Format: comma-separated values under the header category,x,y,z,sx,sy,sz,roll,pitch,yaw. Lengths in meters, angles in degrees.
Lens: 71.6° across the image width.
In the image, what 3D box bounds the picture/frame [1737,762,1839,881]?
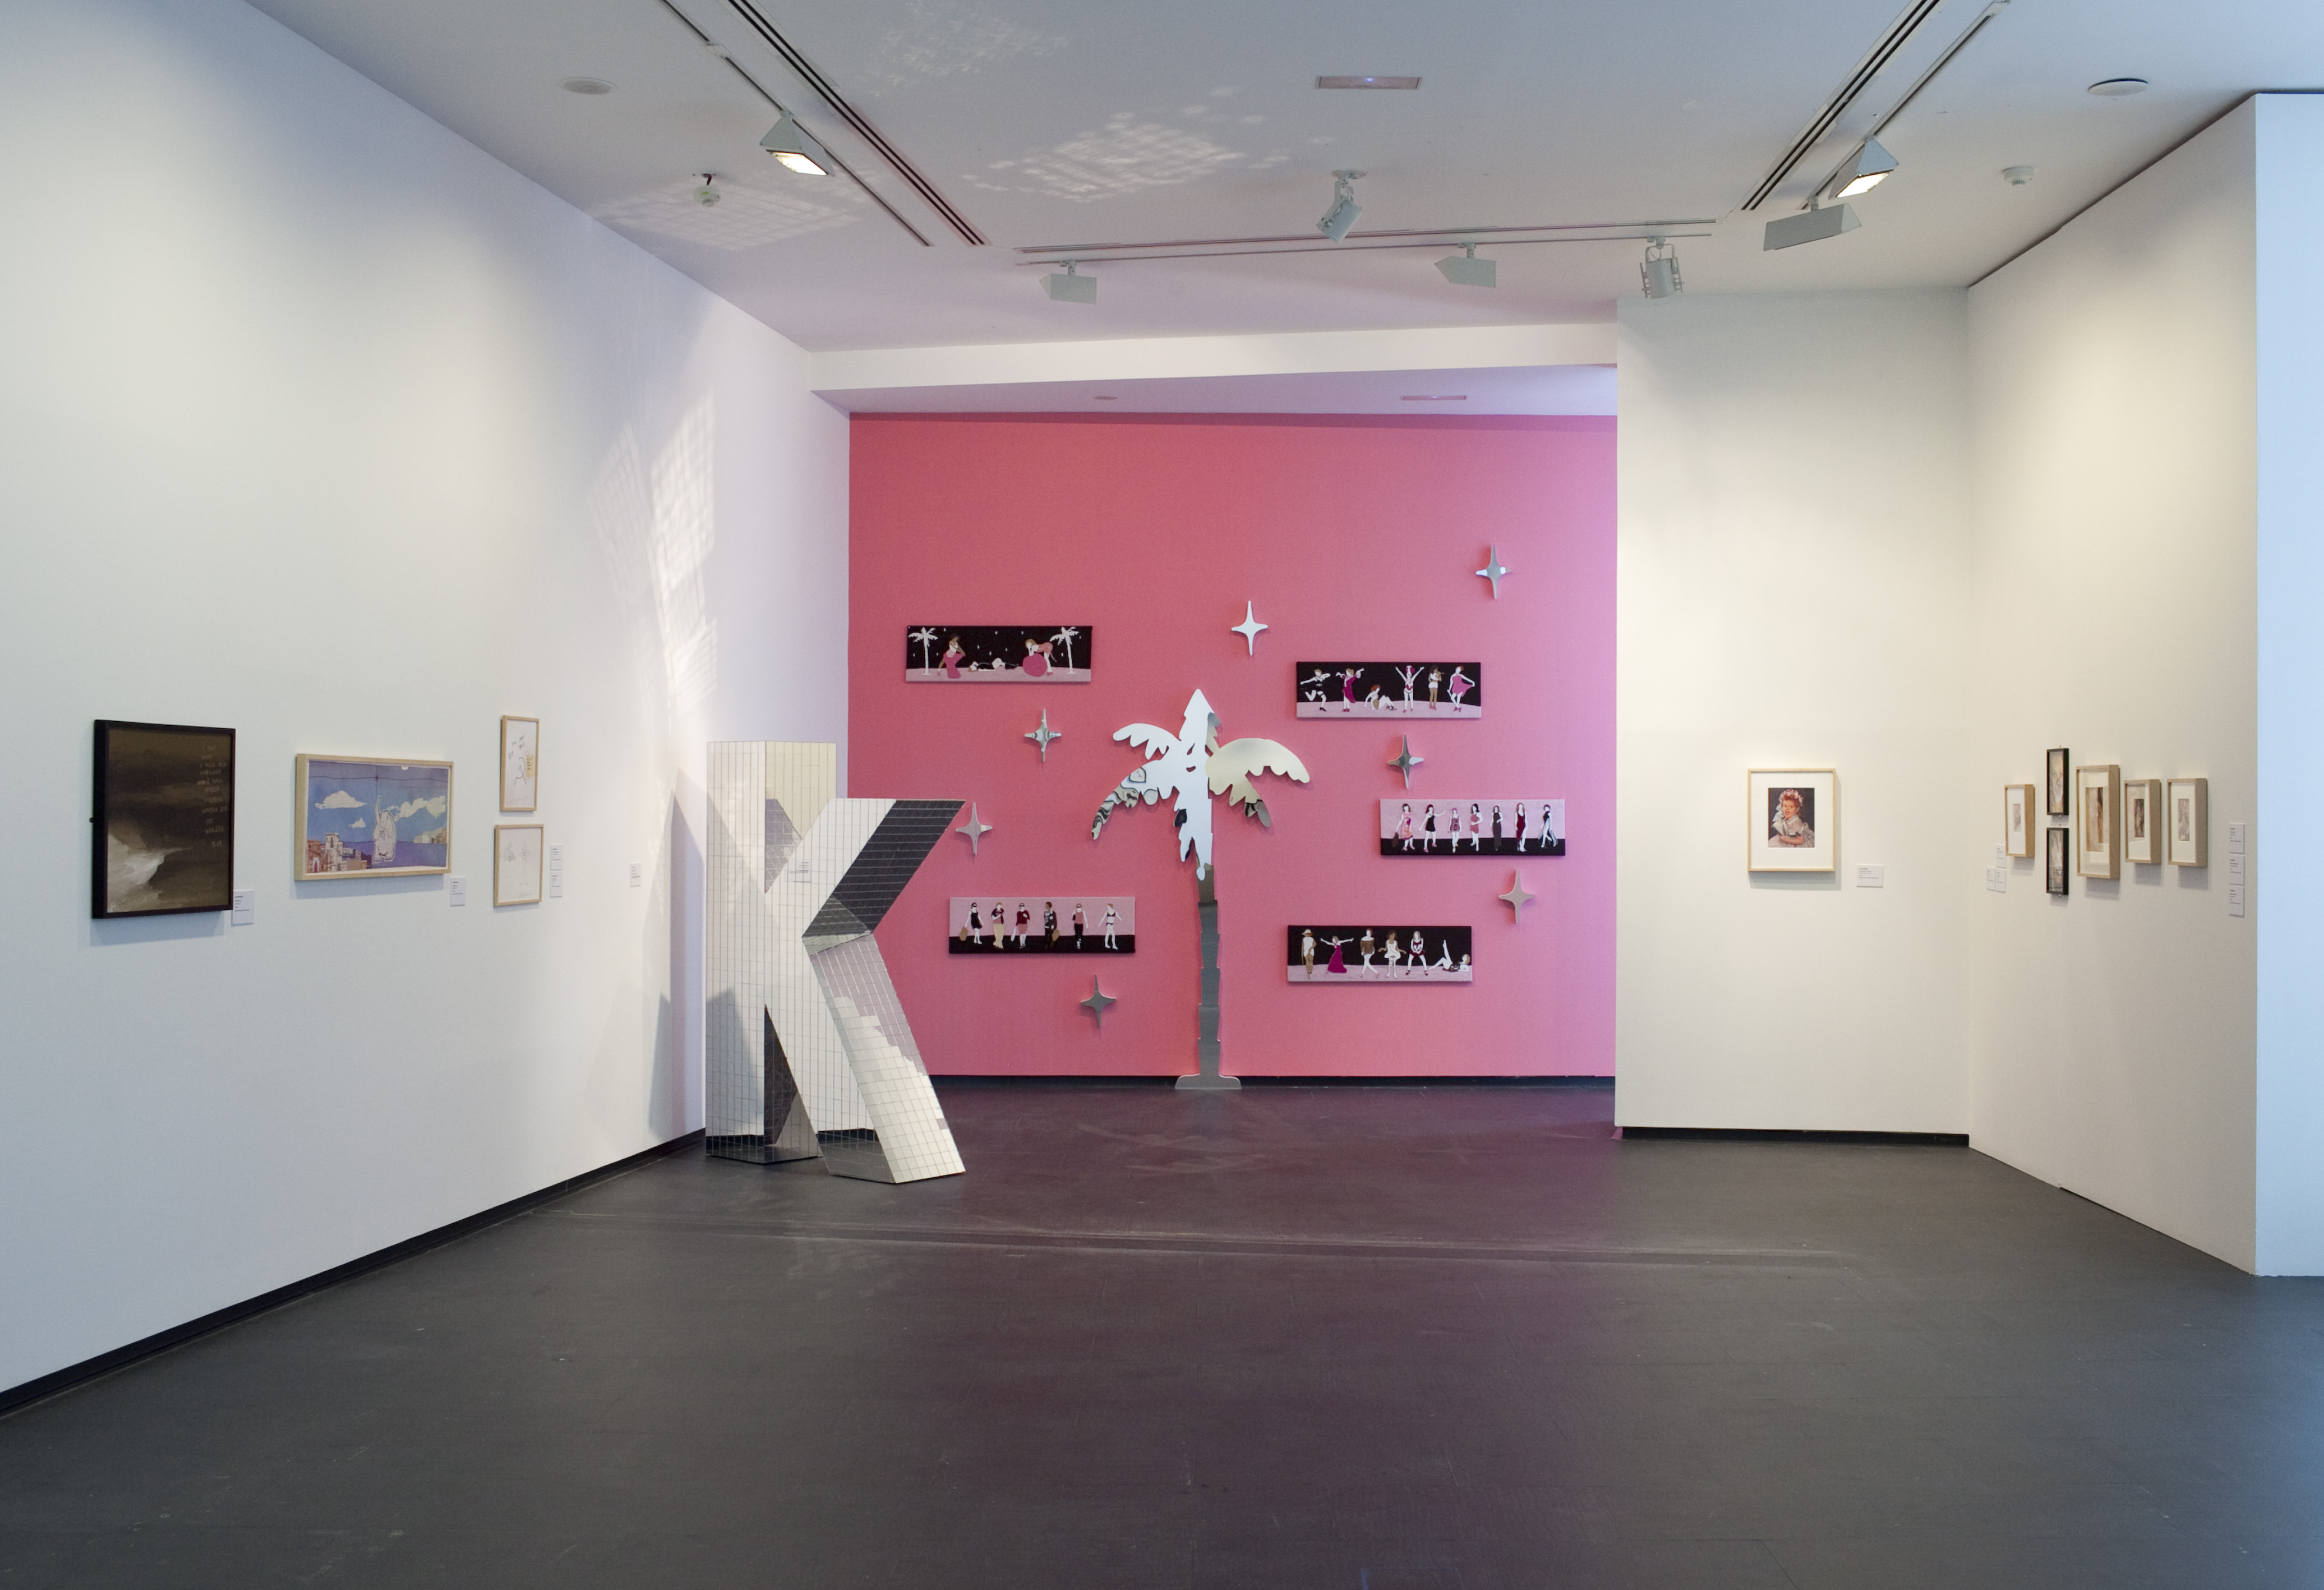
category,x,y,z,sx,sy,sz,roll,pitch,yaw
picture/frame,3.613,0.176,9.217,0.583,0.820,0.059,0,-3,7

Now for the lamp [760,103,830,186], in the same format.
category,x,y,z,sx,sy,sz,roll,pitch,yaw
lamp,-1.738,-2.933,7.290,0.065,0.268,0.288,-2,6,24

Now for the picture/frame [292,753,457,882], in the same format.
category,x,y,z,sx,sy,sz,roll,pitch,yaw
picture/frame,-3.393,0.110,6.979,0.730,0.530,0.027,0,0,13
